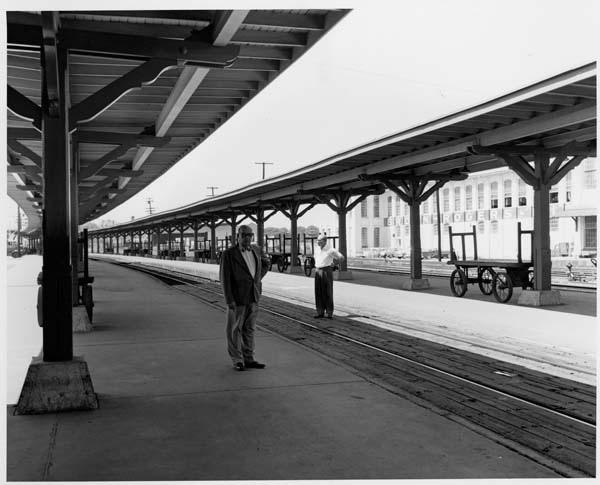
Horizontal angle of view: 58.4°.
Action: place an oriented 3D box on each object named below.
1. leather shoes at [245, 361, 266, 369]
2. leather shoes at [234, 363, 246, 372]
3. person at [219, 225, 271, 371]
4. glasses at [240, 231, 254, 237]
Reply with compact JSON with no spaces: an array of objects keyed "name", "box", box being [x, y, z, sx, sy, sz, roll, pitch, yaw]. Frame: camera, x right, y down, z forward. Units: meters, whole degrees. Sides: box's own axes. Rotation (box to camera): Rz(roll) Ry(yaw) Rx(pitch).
[{"name":"leather shoes","box":[-0.656,1.791,7.887,0.306,0.145,0.112,0,-5,-5]},{"name":"leather shoes","box":[-0.871,1.801,7.738,0.065,0.094,0.201,3,-11,-20]},{"name":"person","box":[-0.832,0.800,7.812,0.673,2.117,0.388,-1,0,-30]},{"name":"glasses","box":[-0.770,-0.119,7.780,0.173,0.069,0.121,-1,0,-24]}]
